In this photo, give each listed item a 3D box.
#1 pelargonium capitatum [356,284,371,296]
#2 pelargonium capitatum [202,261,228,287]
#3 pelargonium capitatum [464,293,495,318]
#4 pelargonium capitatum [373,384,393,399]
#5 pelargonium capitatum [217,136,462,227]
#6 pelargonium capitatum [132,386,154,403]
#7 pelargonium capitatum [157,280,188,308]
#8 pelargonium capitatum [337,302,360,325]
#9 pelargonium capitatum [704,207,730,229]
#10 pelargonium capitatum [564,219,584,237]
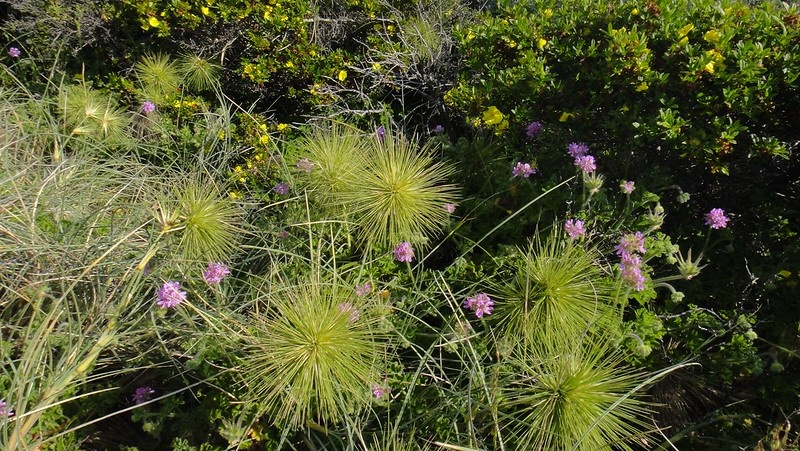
[{"bbox_3d":[-0.224,0.393,3.669,0.064,0.047,0.067,-6,0,19],"label":"pelargonium capitatum"},{"bbox_3d":[-1.129,0.282,3.705,0.150,0.146,0.088,49,1,-19],"label":"pelargonium capitatum"},{"bbox_3d":[0.499,0.478,3.736,0.154,0.158,0.167,2,-13,38],"label":"pelargonium capitatum"},{"bbox_3d":[-0.107,0.963,3.530,0.091,0.090,0.056,11,-4,-26],"label":"pelargonium capitatum"},{"bbox_3d":[-0.173,-0.307,3.980,0.756,0.442,0.884,14,18,26],"label":"pelargonium capitatum"},{"bbox_3d":[-1.593,1.051,3.732,0.105,0.054,0.108,21,50,23],"label":"pelargonium capitatum"},{"bbox_3d":[-1.360,0.419,3.562,0.161,0.109,0.167,-10,47,-10],"label":"pelargonium capitatum"},{"bbox_3d":[-0.304,0.514,3.578,0.138,0.072,0.096,36,38,22],"label":"pelargonium capitatum"},{"bbox_3d":[2.051,-0.048,3.862,0.094,0.096,0.097,-25,-4,42],"label":"pelargonium capitatum"},{"bbox_3d":[1.096,0.011,3.747,0.061,0.120,0.115,-13,6,-42],"label":"pelargonium capitatum"}]
